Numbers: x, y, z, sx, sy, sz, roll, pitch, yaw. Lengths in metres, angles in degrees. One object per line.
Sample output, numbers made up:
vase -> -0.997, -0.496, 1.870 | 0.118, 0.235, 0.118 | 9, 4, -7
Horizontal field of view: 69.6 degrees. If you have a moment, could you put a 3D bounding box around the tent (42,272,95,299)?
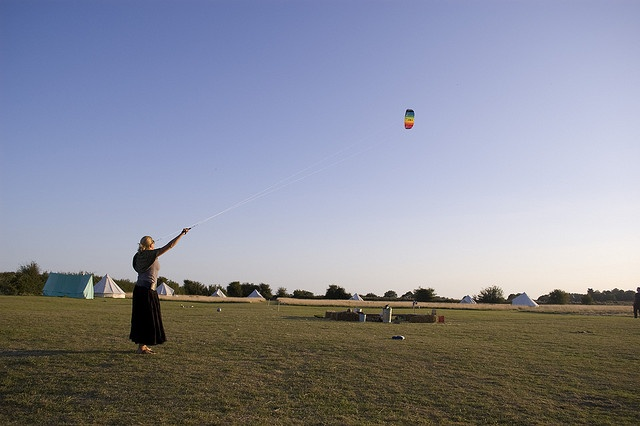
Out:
tent -> -26.058, 7.586, 47.969 | 5.801, 2.533, 1.934 | -3, -13, 18

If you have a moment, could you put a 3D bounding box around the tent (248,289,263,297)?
tent -> -10.309, 13.193, 75.802 | 1.984, 0.910, 1.982 | 14, -20, -26

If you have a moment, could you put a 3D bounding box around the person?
person -> -4.666, 2.249, 12.654 | 0.994, 3.111, 1.249 | 5, -13, -18

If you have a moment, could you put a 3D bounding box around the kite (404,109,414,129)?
kite -> 3.606, -3.742, 18.433 | 0.296, 0.816, 0.652 | 0, -12, 4

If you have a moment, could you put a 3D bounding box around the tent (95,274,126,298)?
tent -> -23.670, 8.285, 51.865 | 3.008, 2.435, 2.721 | 11, -16, -37

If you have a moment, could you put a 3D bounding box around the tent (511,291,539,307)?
tent -> 28.853, 12.236, 65.080 | 2.876, 1.949, 6.125 | -4, -14, 22
